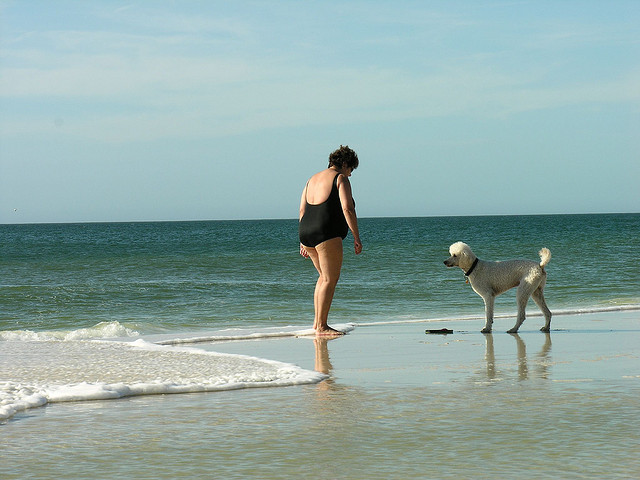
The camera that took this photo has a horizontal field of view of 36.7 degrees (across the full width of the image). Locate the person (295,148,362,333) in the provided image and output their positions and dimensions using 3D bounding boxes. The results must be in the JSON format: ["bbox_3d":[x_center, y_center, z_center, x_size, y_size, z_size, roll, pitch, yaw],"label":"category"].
[{"bbox_3d":[0.110,0.026,10.870,0.686,2.118,0.847,-2,6,-4],"label":"person"}]

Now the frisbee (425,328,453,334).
[{"bbox_3d":[1.365,1.028,11.115,0.315,0.042,0.237,0,5,9],"label":"frisbee"}]

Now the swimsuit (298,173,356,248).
[{"bbox_3d":[0.030,-0.338,10.832,0.607,0.830,0.313,0,6,10],"label":"swimsuit"}]
